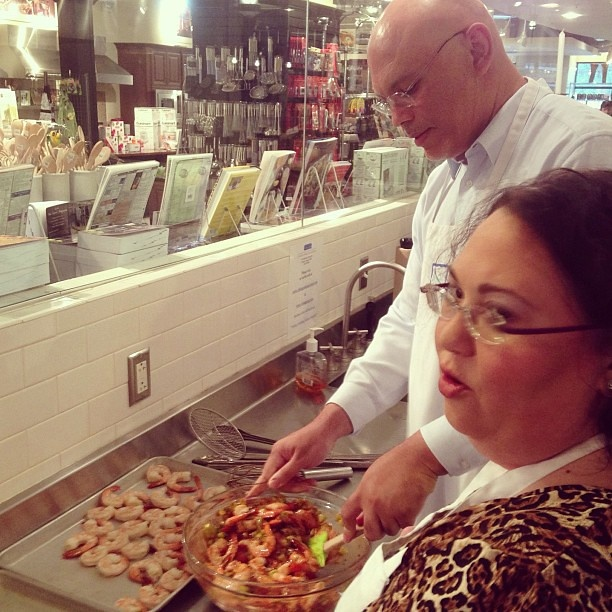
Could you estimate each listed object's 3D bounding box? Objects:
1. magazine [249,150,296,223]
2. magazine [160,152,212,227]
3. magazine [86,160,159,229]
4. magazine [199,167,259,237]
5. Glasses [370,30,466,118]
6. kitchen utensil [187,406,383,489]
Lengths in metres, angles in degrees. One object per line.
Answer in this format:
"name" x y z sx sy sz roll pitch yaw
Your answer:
"magazine" -0.099 -0.509 2.268 0.089 0.278 0.323 20 -1 -23
"magazine" -0.406 -0.399 1.799 0.035 0.186 0.270 25 30 16
"magazine" -0.526 -0.320 1.552 0.030 0.185 0.264 30 21 5
"magazine" -0.297 -0.394 2.011 0.044 0.275 0.315 32 19 13
"Glasses" 0.267 -0.545 1.243 0.056 0.170 0.167 33 13 -8
"kitchen utensil" -0.096 0.423 1.562 0.618 0.088 0.204 4 12 5
